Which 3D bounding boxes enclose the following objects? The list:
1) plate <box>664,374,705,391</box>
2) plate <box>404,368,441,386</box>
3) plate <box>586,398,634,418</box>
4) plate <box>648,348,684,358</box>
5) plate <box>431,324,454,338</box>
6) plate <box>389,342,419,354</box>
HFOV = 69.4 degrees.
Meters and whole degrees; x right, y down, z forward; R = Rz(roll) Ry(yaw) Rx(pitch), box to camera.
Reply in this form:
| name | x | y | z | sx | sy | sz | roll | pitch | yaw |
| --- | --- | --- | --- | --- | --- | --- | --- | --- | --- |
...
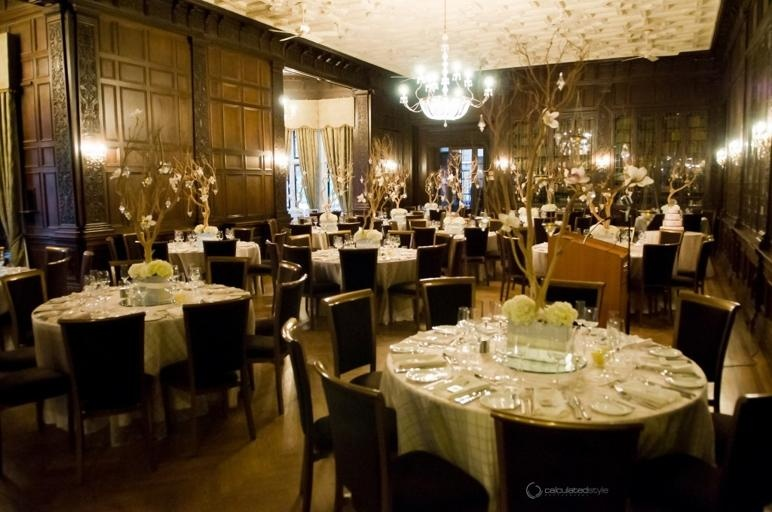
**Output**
| name | x | y | z | sx | sy | sz | roll | pitch | yaw |
| --- | --- | --- | --- | --- | --- | --- | --- | --- | --- |
| plate | 1.936 | 0.812 | 3.609 | 0.245 | 0.046 | 0.185 | 1 | 10 | 21 |
| plate | 0.255 | 0.796 | 3.708 | 0.250 | 0.033 | 0.184 | -2 | 9 | 3 |
| plate | 1.358 | 0.912 | 3.358 | 0.257 | 0.058 | 0.161 | 0 | 9 | 11 |
| plate | 1.989 | 0.690 | 3.988 | 0.224 | 0.032 | 0.162 | 0 | 9 | 11 |
| plate | 0.462 | 0.579 | 4.390 | 0.191 | 0.034 | 0.185 | -2 | 9 | 4 |
| plate | 0.130 | 0.671 | 4.088 | 0.206 | 0.025 | 0.196 | -1 | 9 | 6 |
